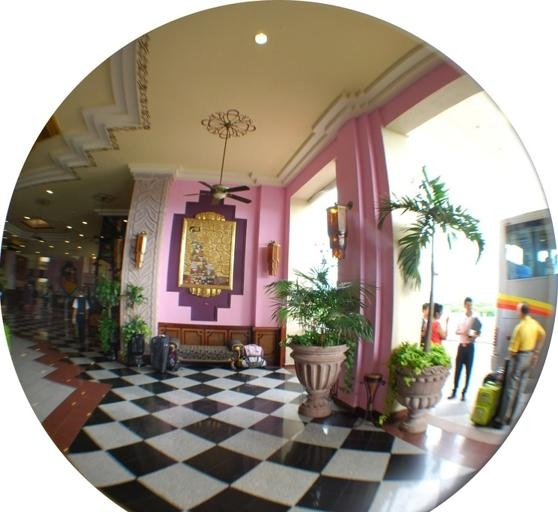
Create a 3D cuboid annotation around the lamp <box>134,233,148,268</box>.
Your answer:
[{"bbox_3d":[-0.647,-0.030,1.735,0.061,0.167,0.038,2,-4,2],"label":"lamp"}]

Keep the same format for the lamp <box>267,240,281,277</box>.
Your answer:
[{"bbox_3d":[-0.028,0.008,1.747,0.075,0.144,0.065,0,-2,14],"label":"lamp"}]

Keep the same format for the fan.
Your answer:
[{"bbox_3d":[-0.248,-0.420,1.706,0.280,0.306,0.278,13,14,-2],"label":"fan"}]

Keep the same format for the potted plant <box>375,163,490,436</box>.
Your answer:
[{"bbox_3d":[0.753,0.194,1.750,0.530,1.243,0.204,3,-4,-21],"label":"potted plant"}]

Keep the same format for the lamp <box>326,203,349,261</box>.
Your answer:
[{"bbox_3d":[0.283,-0.116,1.771,0.116,0.260,0.047,4,-4,-27],"label":"lamp"}]
